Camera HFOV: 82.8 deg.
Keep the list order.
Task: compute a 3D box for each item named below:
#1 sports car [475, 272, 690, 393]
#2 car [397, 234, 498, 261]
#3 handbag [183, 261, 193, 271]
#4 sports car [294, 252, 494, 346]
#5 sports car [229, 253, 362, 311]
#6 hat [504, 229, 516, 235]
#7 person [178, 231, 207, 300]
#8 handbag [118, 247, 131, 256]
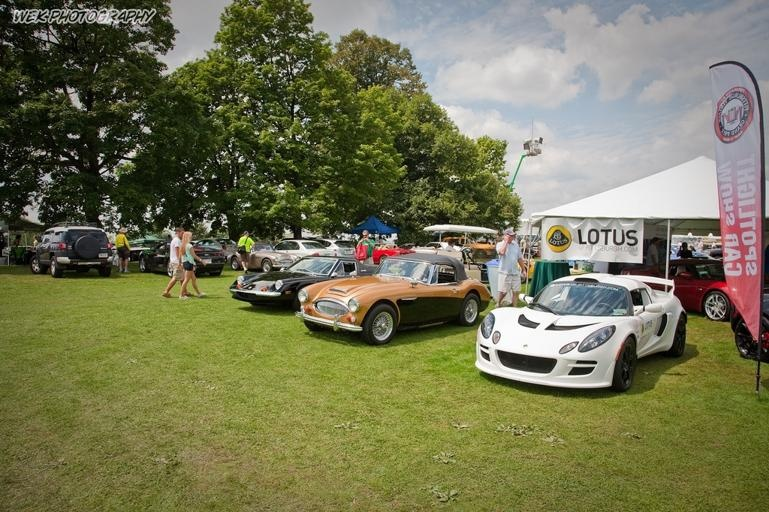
[{"bbox_3d":[3.686,1.340,8.043,3.943,1.723,1.952,-6,15,-32],"label":"sports car"},{"bbox_3d":[3.945,-0.594,27.643,3.918,1.697,2.264,-10,16,-28],"label":"car"},{"bbox_3d":[-6.034,0.319,13.412,0.311,0.283,0.221,6,25,29],"label":"handbag"},{"bbox_3d":[0.462,0.924,10.688,4.307,1.394,1.967,1,-2,-40],"label":"sports car"},{"bbox_3d":[-2.276,0.671,12.225,3.082,0.936,1.718,0,-2,-42],"label":"sports car"},{"bbox_3d":[3.391,-0.633,11.818,0.290,0.144,0.411,-4,7,5],"label":"hat"},{"bbox_3d":[-6.064,0.301,13.476,0.625,2.200,0.811,-2,15,-14],"label":"person"},{"bbox_3d":[-12.781,-0.185,21.404,0.655,0.603,0.383,-3,2,26],"label":"handbag"}]
